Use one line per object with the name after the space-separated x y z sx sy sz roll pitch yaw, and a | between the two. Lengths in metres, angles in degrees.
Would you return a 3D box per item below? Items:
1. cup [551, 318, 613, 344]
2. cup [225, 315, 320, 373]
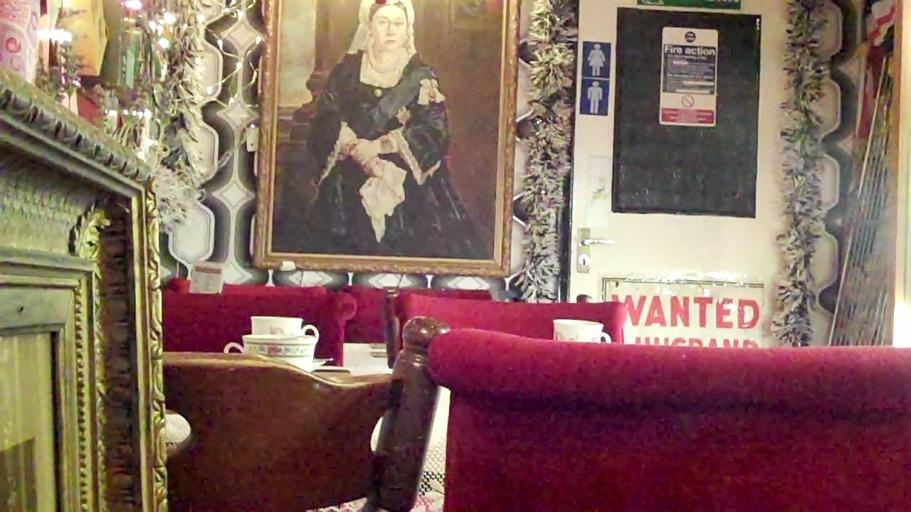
0.491 0.304 3.466 0.159 0.072 0.128 5 -6 0 | cup
-0.691 0.320 3.263 0.330 0.135 0.226 1 -5 12 | cup
